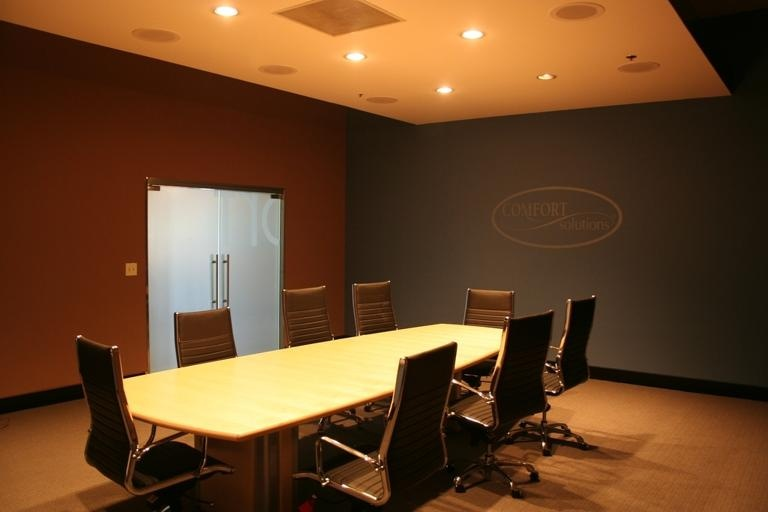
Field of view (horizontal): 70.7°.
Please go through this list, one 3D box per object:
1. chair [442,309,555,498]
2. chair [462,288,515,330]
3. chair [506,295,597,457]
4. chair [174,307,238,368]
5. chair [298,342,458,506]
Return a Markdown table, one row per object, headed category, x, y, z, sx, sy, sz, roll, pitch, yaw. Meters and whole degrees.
| category | x | y | z | sx | sy | sz | roll | pitch | yaw |
| --- | --- | --- | --- | --- | --- | --- | --- | --- | --- |
| chair | 0.986 | 1.326 | 5.059 | 0.958 | 1.566 | 0.904 | 1 | 0 | -38 |
| chair | 1.308 | 0.646 | 6.739 | 0.467 | 0.815 | 0.522 | 0 | 0 | 26 |
| chair | 1.775 | 1.224 | 5.791 | 0.927 | 1.521 | 0.913 | -2 | -4 | 32 |
| chair | -1.733 | 0.745 | 5.321 | 0.477 | 0.830 | 0.601 | -4 | 4 | -35 |
| chair | 0.056 | 1.143 | 4.356 | 1.240 | 1.271 | 1.116 | 3 | 3 | 40 |
